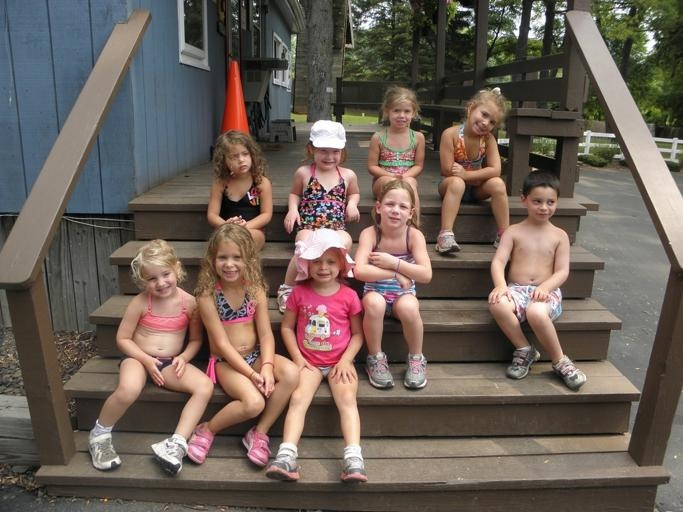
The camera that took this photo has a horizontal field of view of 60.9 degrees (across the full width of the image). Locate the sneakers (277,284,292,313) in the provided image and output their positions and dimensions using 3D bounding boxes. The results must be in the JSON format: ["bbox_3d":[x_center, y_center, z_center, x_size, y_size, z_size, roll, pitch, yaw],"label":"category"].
[{"bbox_3d":[-0.344,0.246,3.453,0.066,0.089,0.192,1,8,-7],"label":"sneakers"}]

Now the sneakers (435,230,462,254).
[{"bbox_3d":[0.684,-0.082,3.753,0.150,0.136,0.120,2,18,9],"label":"sneakers"}]

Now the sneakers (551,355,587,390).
[{"bbox_3d":[1.265,0.633,3.250,0.116,0.118,0.264,-21,18,-1],"label":"sneakers"}]

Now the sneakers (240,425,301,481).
[{"bbox_3d":[-0.359,1.014,2.964,0.135,0.150,0.370,14,-8,-25],"label":"sneakers"}]

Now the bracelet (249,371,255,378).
[{"bbox_3d":[-0.477,0.626,3.072,0.030,0.015,0.041,2,12,-1],"label":"bracelet"}]

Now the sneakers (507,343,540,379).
[{"bbox_3d":[1.033,0.583,3.363,0.103,0.118,0.263,-8,31,49],"label":"sneakers"}]

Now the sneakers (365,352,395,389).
[{"bbox_3d":[0.210,0.621,3.244,0.146,0.171,0.192,-1,18,-1],"label":"sneakers"}]

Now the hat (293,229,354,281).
[{"bbox_3d":[-0.114,-0.002,3.136,0.263,0.206,0.317,0,0,-4],"label":"hat"}]

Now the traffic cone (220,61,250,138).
[{"bbox_3d":[-1.062,-1.563,5.677,0.242,0.664,0.900,-4,18,-9],"label":"traffic cone"}]

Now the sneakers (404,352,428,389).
[{"bbox_3d":[0.411,0.640,3.226,0.127,0.149,0.150,2,18,9],"label":"sneakers"}]

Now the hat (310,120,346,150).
[{"bbox_3d":[-0.094,-0.764,3.680,0.209,0.191,0.228,-2,18,-4],"label":"hat"}]

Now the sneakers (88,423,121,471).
[{"bbox_3d":[-1.243,0.987,3.027,0.135,0.189,0.197,-10,20,-27],"label":"sneakers"}]

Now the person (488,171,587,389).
[{"bbox_3d":[1.132,0.108,3.321,0.545,1.101,0.580,4,18,14],"label":"person"}]

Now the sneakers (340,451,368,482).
[{"bbox_3d":[0.061,1.052,2.940,0.132,0.142,0.204,-1,18,-1],"label":"sneakers"}]

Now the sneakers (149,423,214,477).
[{"bbox_3d":[-0.811,1.005,3.000,0.301,0.170,0.210,-8,19,-20],"label":"sneakers"}]

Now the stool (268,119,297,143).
[{"bbox_3d":[-0.888,-1.881,8.674,0.410,0.287,0.585,-1,29,1],"label":"stool"}]
